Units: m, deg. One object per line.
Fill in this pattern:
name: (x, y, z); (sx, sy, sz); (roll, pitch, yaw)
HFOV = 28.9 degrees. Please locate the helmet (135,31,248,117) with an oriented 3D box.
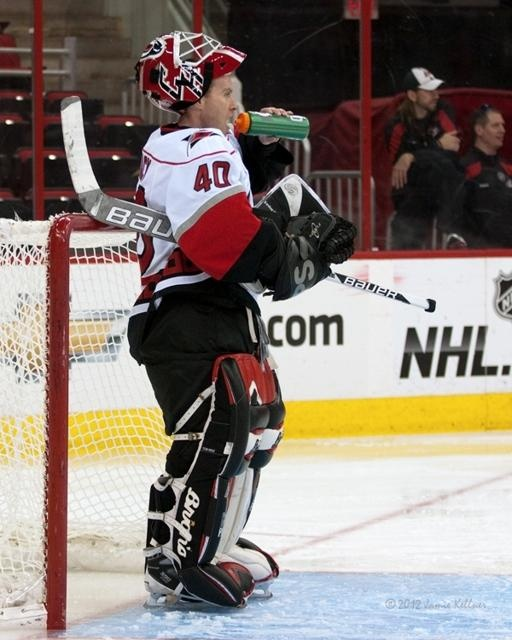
helmet: (-0.171, -0.639, 2.604); (0.286, 0.188, 0.185); (8, 9, -2)

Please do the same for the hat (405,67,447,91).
hat: (0.907, -1.281, 5.267); (0.191, 0.082, 0.114); (3, 26, 14)
